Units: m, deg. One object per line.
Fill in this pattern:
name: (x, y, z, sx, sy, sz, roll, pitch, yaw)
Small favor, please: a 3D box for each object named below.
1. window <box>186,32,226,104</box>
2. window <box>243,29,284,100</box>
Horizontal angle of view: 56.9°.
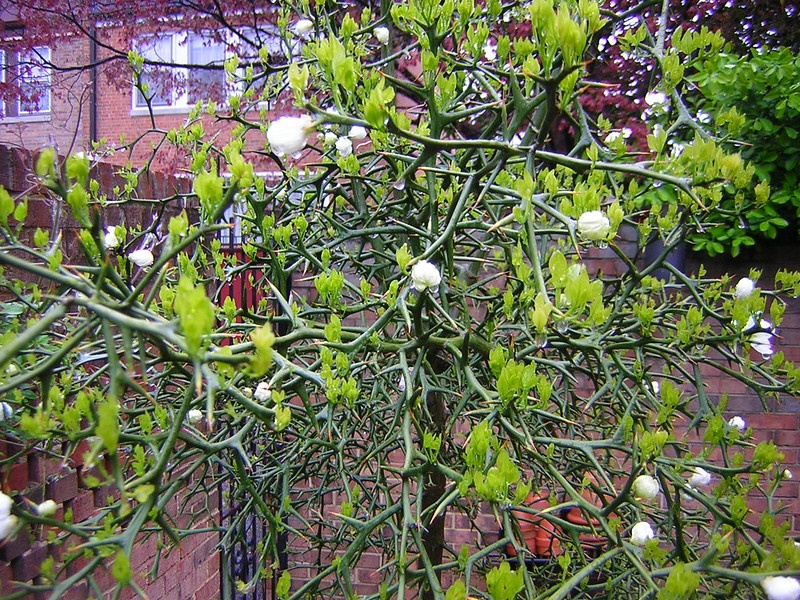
window: (-1.546, -1.857, 5.921, 0.288, 0.047, 0.651, -3, -104, -11)
window: (-1.029, -1.681, 5.670, 0.293, 0.909, 0.279, -15, -103, -16)
